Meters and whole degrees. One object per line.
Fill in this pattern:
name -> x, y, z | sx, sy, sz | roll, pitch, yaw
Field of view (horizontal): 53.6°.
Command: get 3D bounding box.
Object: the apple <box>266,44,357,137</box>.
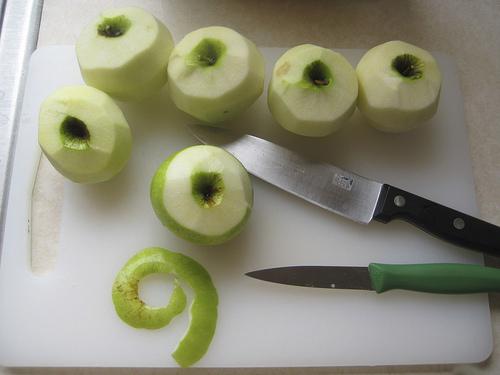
apple -> 0.242, -0.362, 1.978 | 0.273, 0.299, 0.354 | 5, 87, -2

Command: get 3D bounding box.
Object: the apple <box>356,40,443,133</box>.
apple -> 0.573, -0.341, 1.995 | 0.282, 0.320, 0.341 | -1, 74, 4

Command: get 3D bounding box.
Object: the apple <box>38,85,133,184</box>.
apple -> -0.606, -0.206, 1.837 | 0.317, 0.114, 0.356 | -1, 84, 0

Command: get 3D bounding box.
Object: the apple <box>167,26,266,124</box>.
apple -> -0.145, -0.425, 1.953 | 0.371, 0.283, 0.424 | -11, 61, -3
